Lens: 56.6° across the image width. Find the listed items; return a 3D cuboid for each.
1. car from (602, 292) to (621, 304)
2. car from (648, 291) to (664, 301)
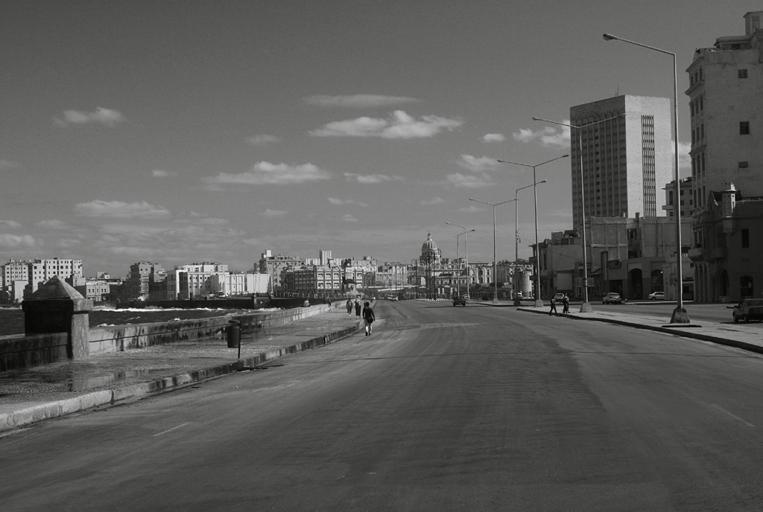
[{"bbox_3d":[30.677,5.691,95.097,1.564,1.136,3.417,1,3,10],"label":"car"},{"bbox_3d":[40.011,5.845,103.504,2.590,0.880,1.087,-5,5,-7],"label":"car"}]
